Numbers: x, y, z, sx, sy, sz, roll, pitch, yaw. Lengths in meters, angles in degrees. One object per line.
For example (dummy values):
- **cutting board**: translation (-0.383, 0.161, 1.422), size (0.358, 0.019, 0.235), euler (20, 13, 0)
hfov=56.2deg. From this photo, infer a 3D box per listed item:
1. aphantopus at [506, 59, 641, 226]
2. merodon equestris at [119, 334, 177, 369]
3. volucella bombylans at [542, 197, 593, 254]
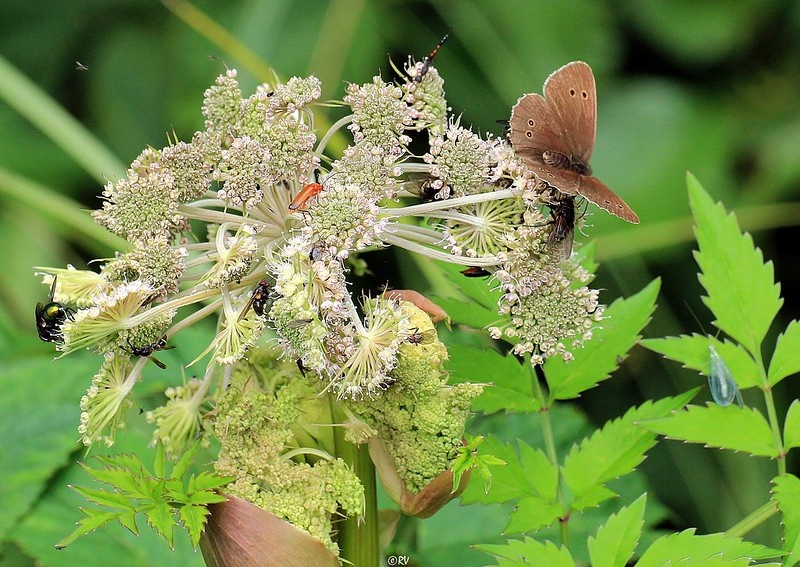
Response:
- **aphantopus**: translation (0.280, -0.271, 1.417), size (0.228, 0.278, 0.285), euler (0, 18, -10)
- **merodon equestris**: translation (-0.477, 0.119, 1.457), size (0.115, 0.085, 0.031), euler (8, 62, -13)
- **volucella bombylans**: translation (0.309, -0.109, 1.407), size (0.081, 0.032, 0.103), euler (-5, 90, 24)
